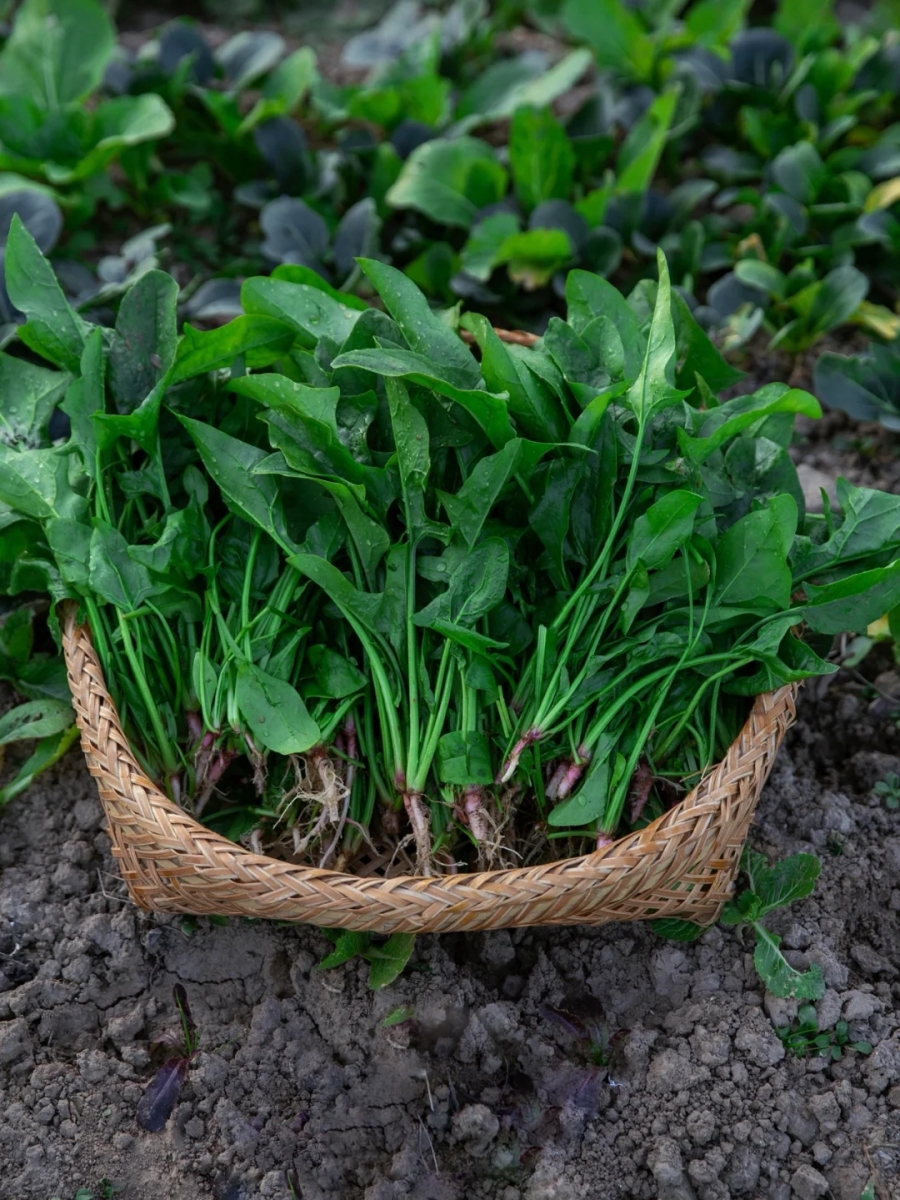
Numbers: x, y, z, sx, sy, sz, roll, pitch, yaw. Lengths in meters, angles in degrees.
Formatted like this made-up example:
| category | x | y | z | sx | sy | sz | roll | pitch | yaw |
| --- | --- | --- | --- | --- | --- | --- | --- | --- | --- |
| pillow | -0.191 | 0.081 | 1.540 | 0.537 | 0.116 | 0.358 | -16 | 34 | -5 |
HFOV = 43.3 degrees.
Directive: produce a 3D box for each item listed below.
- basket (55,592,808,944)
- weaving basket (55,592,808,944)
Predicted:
| category | x | y | z | sx | sy | sz | roll | pitch | yaw |
| --- | --- | --- | --- | --- | --- | --- | --- | --- | --- |
| basket | -0.026 | 0.168 | 1.063 | 0.469 | 0.107 | 0.357 | 0 | 37 | 0 |
| weaving basket | -0.031 | 0.179 | 1.071 | 0.469 | 0.107 | 0.357 | 0 | 37 | 0 |
